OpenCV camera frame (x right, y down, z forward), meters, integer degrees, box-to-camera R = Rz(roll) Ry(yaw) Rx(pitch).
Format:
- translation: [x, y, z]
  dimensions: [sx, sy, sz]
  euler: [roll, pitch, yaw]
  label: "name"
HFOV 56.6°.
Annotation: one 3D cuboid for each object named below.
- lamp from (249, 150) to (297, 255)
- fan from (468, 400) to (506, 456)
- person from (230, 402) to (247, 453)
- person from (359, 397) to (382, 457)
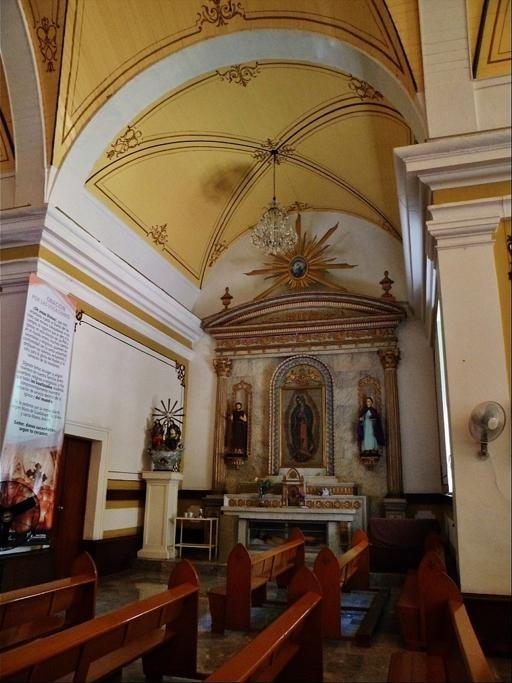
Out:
- translation: [0.307, -2.264, 8.438]
  dimensions: [0.694, 2.027, 1.663]
  euler: [0, -14, 2]
  label: "lamp"
- translation: [1.691, 0.643, 3.467]
  dimensions: [0.248, 0.392, 0.119]
  euler: [-7, -16, 27]
  label: "fan"
- translation: [-0.320, 1.705, 9.213]
  dimensions: [0.246, 0.981, 0.293]
  euler: [-7, -16, 28]
  label: "person"
- translation: [2.008, 1.523, 8.420]
  dimensions: [0.403, 1.033, 0.214]
  euler: [-2, -15, 9]
  label: "person"
